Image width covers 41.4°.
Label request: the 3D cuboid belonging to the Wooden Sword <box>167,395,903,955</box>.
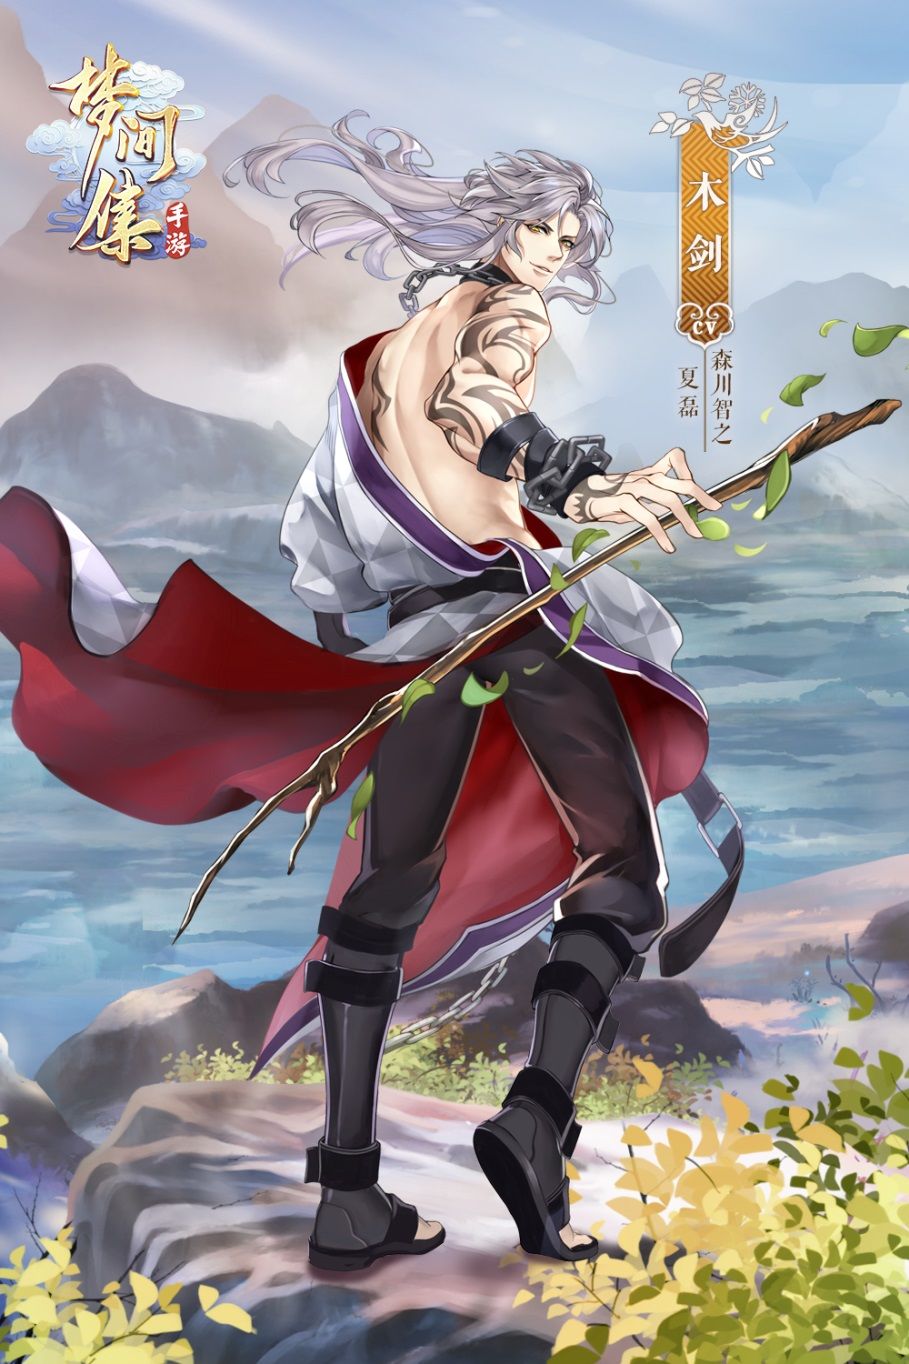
[{"bbox_3d":[0.106,0.008,2.615,2.326,0.201,0.248,-31,19,17],"label":"Wooden Sword"}]
